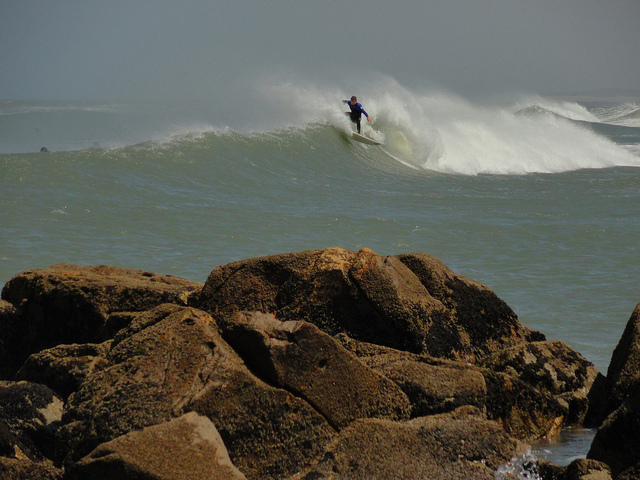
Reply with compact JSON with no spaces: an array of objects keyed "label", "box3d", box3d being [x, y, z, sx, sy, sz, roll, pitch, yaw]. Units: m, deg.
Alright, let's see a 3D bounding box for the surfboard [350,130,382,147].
[{"label":"surfboard","box3d":[1.214,-2.872,29.558,1.385,0.288,0.204,23,40,35]}]
